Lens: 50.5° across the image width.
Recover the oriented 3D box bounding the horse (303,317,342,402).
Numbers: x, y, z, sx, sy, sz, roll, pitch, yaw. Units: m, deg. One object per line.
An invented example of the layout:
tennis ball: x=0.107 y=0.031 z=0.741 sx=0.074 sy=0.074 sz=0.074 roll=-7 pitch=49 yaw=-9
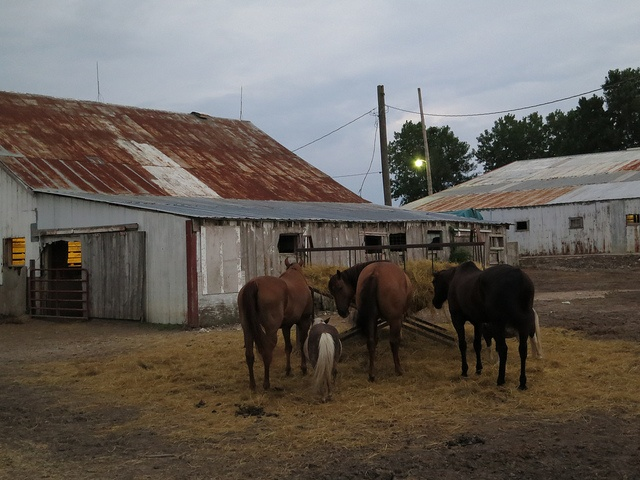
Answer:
horse: x=0.075 y=1.820 z=10.964 sx=0.483 sy=1.204 sz=1.778 roll=-8 pitch=-3 yaw=-3

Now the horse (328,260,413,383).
horse: x=0.945 y=1.225 z=11.818 sx=1.492 sy=1.770 sz=2.192 roll=-3 pitch=7 yaw=-5

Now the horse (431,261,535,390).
horse: x=2.573 y=1.293 z=11.087 sx=0.692 sy=1.933 sz=2.476 roll=-2 pitch=-1 yaw=-26

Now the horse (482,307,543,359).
horse: x=3.478 y=1.583 z=11.596 sx=0.893 sy=0.384 sz=1.505 roll=-26 pitch=-7 yaw=-12

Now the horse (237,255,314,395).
horse: x=-0.649 y=1.373 z=11.805 sx=0.737 sy=2.096 sz=2.742 roll=-4 pitch=-2 yaw=18
